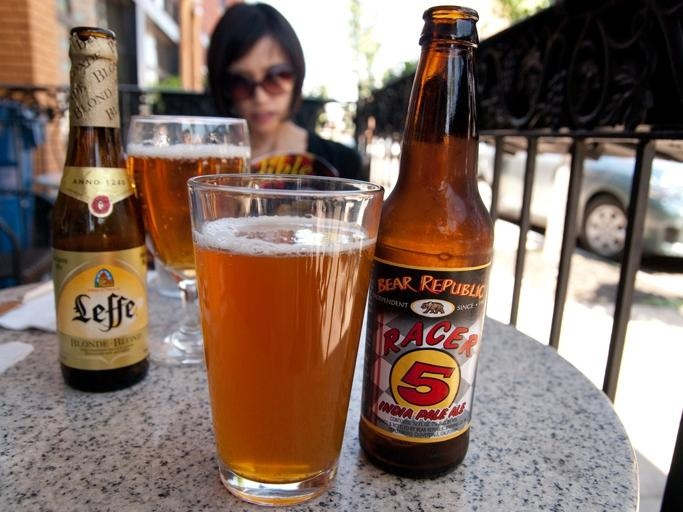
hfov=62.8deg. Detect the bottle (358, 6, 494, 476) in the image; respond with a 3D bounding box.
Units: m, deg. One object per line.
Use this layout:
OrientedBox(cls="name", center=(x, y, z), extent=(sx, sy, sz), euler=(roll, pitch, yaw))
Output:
OrientedBox(cls="bottle", center=(0.131, -0.011, 0.824), extent=(0.182, 0.664, 0.174), euler=(1, 16, 0))
